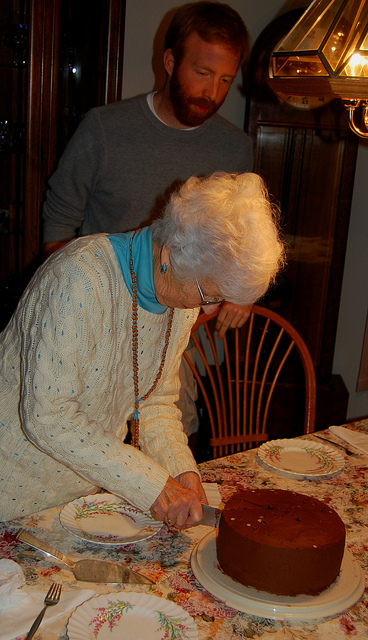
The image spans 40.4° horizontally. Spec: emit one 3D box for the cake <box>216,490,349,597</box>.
[{"bbox_3d":[0.180,0.391,0.916,0.210,0.079,0.264,11,7,21],"label":"cake"}]

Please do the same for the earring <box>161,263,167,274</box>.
[{"bbox_3d":[-0.040,-0.100,0.979,0.006,0.015,0.011,-11,54,-24],"label":"earring"}]

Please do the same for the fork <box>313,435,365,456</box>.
[{"bbox_3d":[0.463,0.387,1.529,0.026,0.017,0.180,-17,33,-42],"label":"fork"}]
